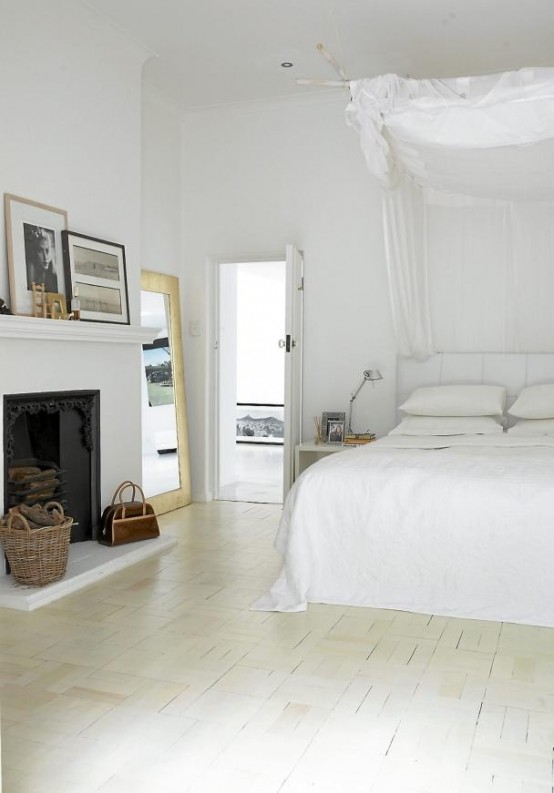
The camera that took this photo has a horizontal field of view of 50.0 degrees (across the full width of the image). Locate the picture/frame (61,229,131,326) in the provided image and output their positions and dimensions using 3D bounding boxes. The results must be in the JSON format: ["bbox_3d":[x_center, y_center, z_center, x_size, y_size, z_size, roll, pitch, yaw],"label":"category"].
[{"bbox_3d":[-1.117,-0.720,3.588,0.058,0.532,0.724,-3,0,20],"label":"picture/frame"}]

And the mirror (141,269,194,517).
[{"bbox_3d":[-0.946,-0.055,5.172,0.213,2.063,0.730,0,-1,11],"label":"mirror"}]

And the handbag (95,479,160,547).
[{"bbox_3d":[-0.987,0.738,3.841,0.430,0.355,0.420,1,-2,-43],"label":"handbag"}]

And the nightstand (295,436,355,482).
[{"bbox_3d":[0.343,0.443,4.917,0.478,0.297,0.255,0,6,12],"label":"nightstand"}]

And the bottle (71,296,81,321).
[{"bbox_3d":[-1.156,-0.512,3.397,0.042,0.154,0.133,0,-1,-18],"label":"bottle"}]
